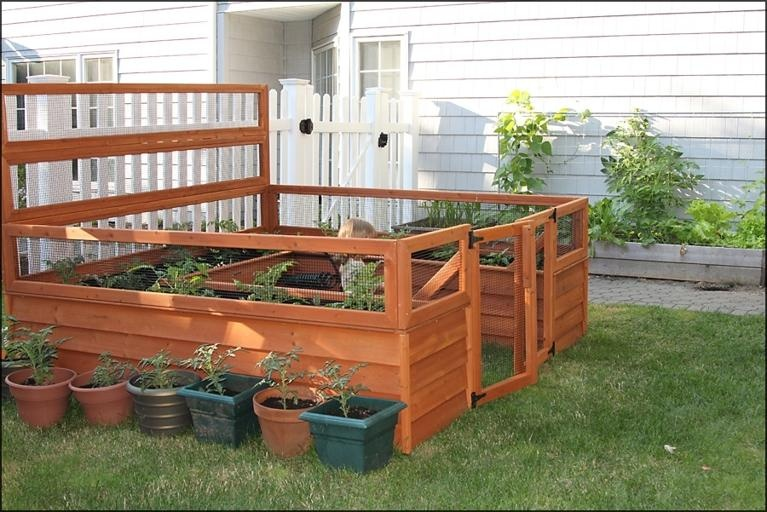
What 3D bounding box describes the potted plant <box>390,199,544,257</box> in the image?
[{"bbox_3d":[0.764,-0.362,5.476,1.344,0.292,0.324,-1,12,1],"label":"potted plant"}]
